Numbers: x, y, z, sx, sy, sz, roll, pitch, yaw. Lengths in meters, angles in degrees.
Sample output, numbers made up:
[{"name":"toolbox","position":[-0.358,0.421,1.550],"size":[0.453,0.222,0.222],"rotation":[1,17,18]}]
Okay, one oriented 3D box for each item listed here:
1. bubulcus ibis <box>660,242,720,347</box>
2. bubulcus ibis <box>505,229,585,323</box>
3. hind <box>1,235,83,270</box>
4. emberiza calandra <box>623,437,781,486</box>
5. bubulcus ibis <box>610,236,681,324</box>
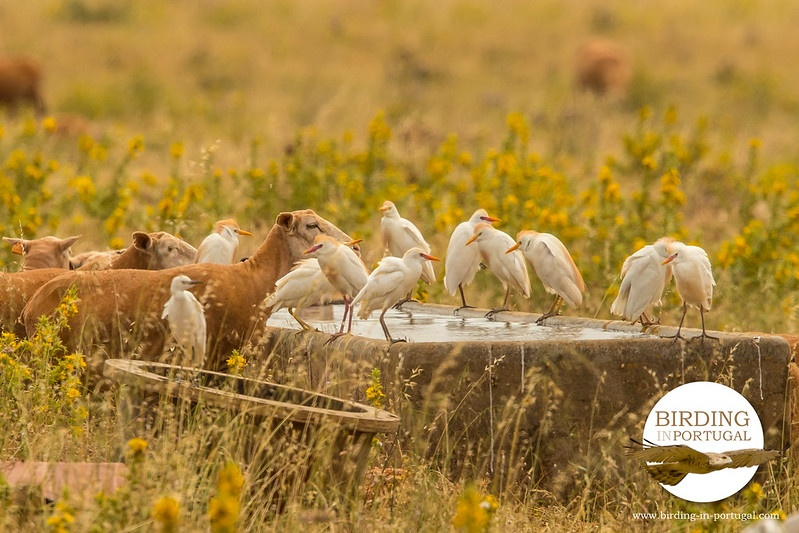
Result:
[{"name":"bubulcus ibis","position":[2.595,0.210,12.713],"size":[0.574,0.848,0.392],"rotation":[5,-4,5]},{"name":"bubulcus ibis","position":[1.482,0.078,13.955],"size":[0.740,0.888,0.508],"rotation":[-3,-2,-2]},{"name":"hind","position":[-3.586,-0.152,14.264],"size":[0.567,0.444,1.075],"rotation":[1,-1,-8]},{"name":"emberiza calandra","position":[2.429,1.639,11.637],"size":[0.823,0.332,1.399],"rotation":[3,-3,-32]},{"name":"bubulcus ibis","position":[2.323,0.144,13.159],"size":[0.594,0.814,0.388],"rotation":[-5,6,-9]}]
